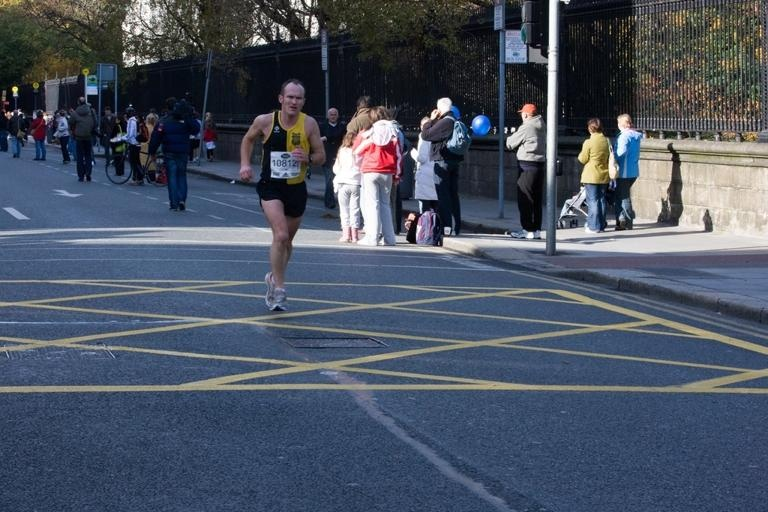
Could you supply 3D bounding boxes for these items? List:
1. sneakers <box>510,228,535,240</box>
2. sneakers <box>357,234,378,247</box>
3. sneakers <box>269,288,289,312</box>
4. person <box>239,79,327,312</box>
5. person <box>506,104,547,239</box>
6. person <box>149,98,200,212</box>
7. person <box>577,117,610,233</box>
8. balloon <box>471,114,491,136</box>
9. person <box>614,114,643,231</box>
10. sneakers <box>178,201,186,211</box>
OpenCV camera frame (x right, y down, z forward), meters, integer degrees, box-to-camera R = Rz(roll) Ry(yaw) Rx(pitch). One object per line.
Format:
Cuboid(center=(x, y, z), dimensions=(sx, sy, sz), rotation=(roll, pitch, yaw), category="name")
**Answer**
Cuboid(center=(2.418, -0.382, 17.009), dimensions=(0.410, 0.173, 0.150), rotation=(4, 3, 5), category="sneakers")
Cuboid(center=(-0.279, -0.265, 16.285), dimensions=(0.153, 0.150, 0.358), rotation=(0, 8, -13), category="sneakers")
Cuboid(center=(-1.179, 0.482, 10.690), dimensions=(0.171, 0.208, 0.487), rotation=(2, -8, -7), category="sneakers")
Cuboid(center=(-1.123, -0.663, 10.656), dimensions=(0.894, 2.479, 0.525), rotation=(0, 8, -6), category="person")
Cuboid(center=(2.502, -1.472, 17.037), dimensions=(0.615, 2.298, 0.726), rotation=(2, 8, 9), category="person")
Cuboid(center=(-4.540, -2.151, 21.003), dimensions=(1.012, 2.328, 0.800), rotation=(-1, 8, -12), category="person")
Cuboid(center=(3.801, -1.437, 17.559), dimensions=(0.546, 2.019, 0.607), rotation=(3, 8, 12), category="person")
Cuboid(center=(2.039, -2.757, 20.558), dimensions=(0.313, 0.387, 0.957), rotation=(3, 10, 10), category="balloon")
Cuboid(center=(4.366, -1.509, 17.701), dimensions=(0.650, 2.073, 0.386), rotation=(-5, 10, -39), category="person")
Cuboid(center=(-4.427, -1.084, 21.082), dimensions=(0.143, 0.167, 0.425), rotation=(-2, -7, -13), category="sneakers")
